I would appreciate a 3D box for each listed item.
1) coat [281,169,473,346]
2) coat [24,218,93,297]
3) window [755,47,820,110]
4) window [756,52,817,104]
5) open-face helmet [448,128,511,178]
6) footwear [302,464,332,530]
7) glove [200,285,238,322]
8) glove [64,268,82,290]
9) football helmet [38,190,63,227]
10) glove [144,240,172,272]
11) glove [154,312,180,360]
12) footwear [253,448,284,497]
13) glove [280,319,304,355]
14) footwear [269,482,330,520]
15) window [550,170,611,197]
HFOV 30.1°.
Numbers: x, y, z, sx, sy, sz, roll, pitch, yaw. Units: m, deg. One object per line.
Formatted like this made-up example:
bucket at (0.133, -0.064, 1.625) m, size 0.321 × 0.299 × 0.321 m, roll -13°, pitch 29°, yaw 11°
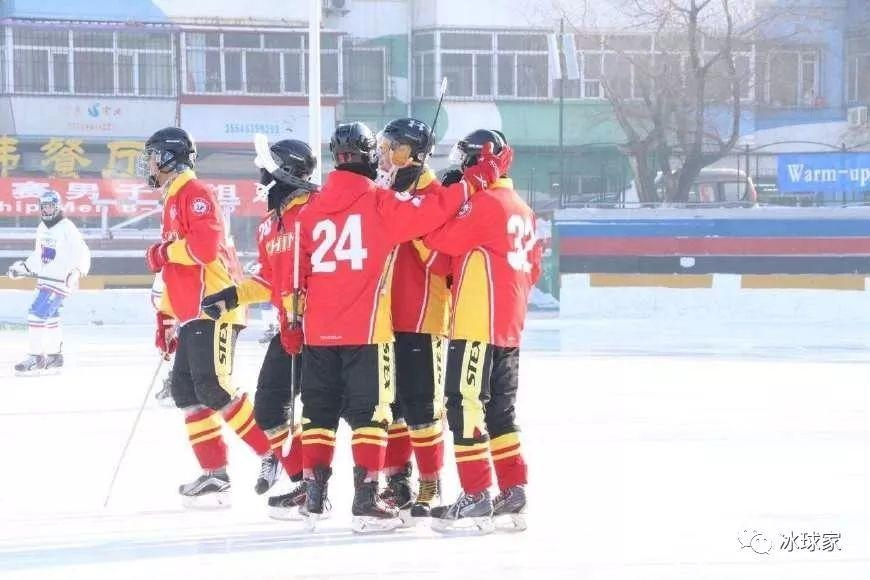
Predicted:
coat at (-0.996, -0.469, 23.239) m, size 2.094 × 2.494 × 0.563 m, roll -2°, pitch 7°, yaw -6°
coat at (-7.109, -0.549, 30.437) m, size 1.711 × 1.361 × 0.662 m, roll 6°, pitch 0°, yaw 22°
window at (8.965, -5.131, 40.415) m, size 1.915 × 1.664 × 1.120 m, roll 5°, pitch 3°, yaw 32°
window at (8.566, -5.186, 39.992) m, size 1.365 × 1.188 × 0.701 m, roll 0°, pitch -3°, yaw -1°
open-face helmet at (0.693, -2.026, 23.763) m, size 0.821 × 0.635 × 0.621 m, roll 18°, pitch 11°, yaw 20°
footwear at (-1.744, 2.940, 23.214) m, size 0.467 × 0.884 × 0.387 m, roll -1°, pitch 7°, yaw 6°
glove at (-3.123, 0.185, 23.612) m, size 0.538 × 0.218 × 0.405 m, roll -34°, pitch -8°, yaw -3°
glove at (-6.551, -0.189, 29.105) m, size 0.261 × 0.390 × 0.128 m, roll 28°, pitch 3°, yaw -20°
football helmet at (-6.932, -1.492, 29.294) m, size 0.509 × 0.576 × 0.591 m, roll 1°, pitch 2°, yaw -1°
glove at (-4.084, -0.501, 23.823) m, size 0.249 × 0.435 × 0.338 m, roll 3°, pitch -8°, yaw 10°
glove at (-4.076, 0.699, 24.071) m, size 0.480 × 0.598 × 0.211 m, roll -2°, pitch -10°, yaw -38°
footwear at (-2.451, 2.639, 23.700) m, size 0.269 × 0.752 × 0.317 m, roll 4°, pitch -41°, yaw 28°
glove at (-2.085, 0.679, 23.271) m, size 0.355 × 0.430 × 0.193 m, roll 6°, pitch -15°, yaw -6°
footwear at (-2.117, 2.977, 23.549) m, size 0.996 × 0.629 × 0.360 m, roll 9°, pitch 2°, yaw -29°
window at (3.469, -2.495, 38.230) m, size 1.421 × 0.487 × 0.826 m, roll -2°, pitch 7°, yaw -8°
